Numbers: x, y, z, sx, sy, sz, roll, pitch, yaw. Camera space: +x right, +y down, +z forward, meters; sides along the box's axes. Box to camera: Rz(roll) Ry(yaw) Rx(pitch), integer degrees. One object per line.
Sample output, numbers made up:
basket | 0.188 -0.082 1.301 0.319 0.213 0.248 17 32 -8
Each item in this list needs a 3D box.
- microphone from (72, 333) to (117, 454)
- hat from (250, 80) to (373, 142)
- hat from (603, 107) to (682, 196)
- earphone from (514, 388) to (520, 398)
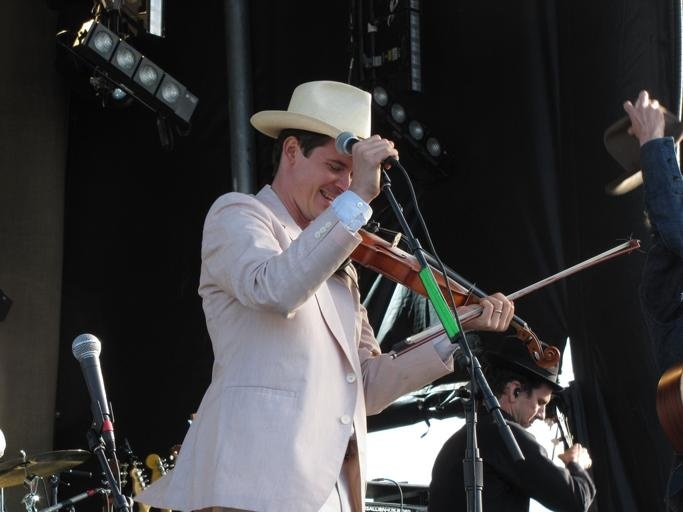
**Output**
microphone | -1.548 0.854 6.395 0.174 0.716 0.199 -10 -20 -31
hat | -0.162 -0.801 5.670 0.502 0.431 0.515 2 5 40
hat | 2.151 -0.730 7.061 0.408 0.571 0.505 7 10 43
earphone | 1.189 0.932 6.789 0.037 0.057 0.018 3 1 -27
